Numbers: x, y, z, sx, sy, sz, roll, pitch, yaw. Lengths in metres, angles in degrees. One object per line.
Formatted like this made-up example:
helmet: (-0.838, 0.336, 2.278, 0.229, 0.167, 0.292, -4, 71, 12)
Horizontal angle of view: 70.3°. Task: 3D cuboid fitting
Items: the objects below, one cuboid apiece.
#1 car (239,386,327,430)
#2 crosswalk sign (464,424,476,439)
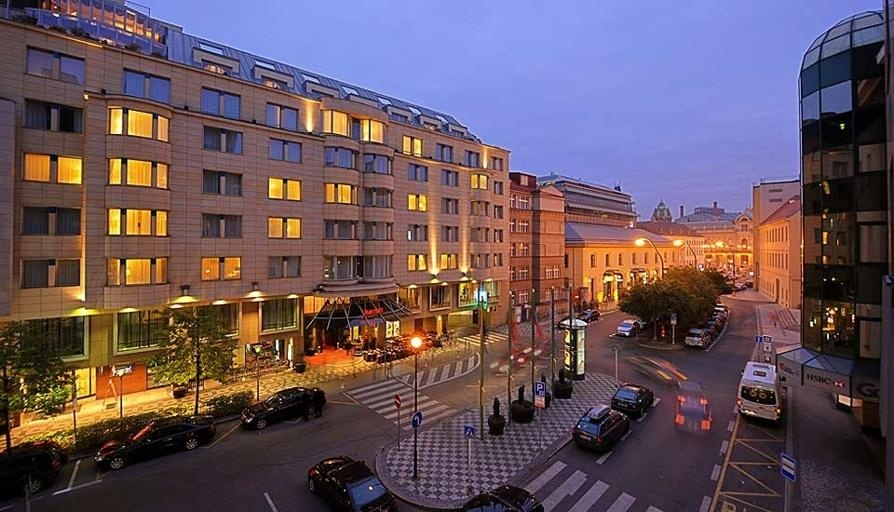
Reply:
car: (-15.038, 14.154, 59.042, 7.232, 2.015, 3.152, -5, 12, -35)
crosswalk sign: (1.886, 14.621, 53.093, 0.758, 1.088, 1.265, -6, -5, -7)
